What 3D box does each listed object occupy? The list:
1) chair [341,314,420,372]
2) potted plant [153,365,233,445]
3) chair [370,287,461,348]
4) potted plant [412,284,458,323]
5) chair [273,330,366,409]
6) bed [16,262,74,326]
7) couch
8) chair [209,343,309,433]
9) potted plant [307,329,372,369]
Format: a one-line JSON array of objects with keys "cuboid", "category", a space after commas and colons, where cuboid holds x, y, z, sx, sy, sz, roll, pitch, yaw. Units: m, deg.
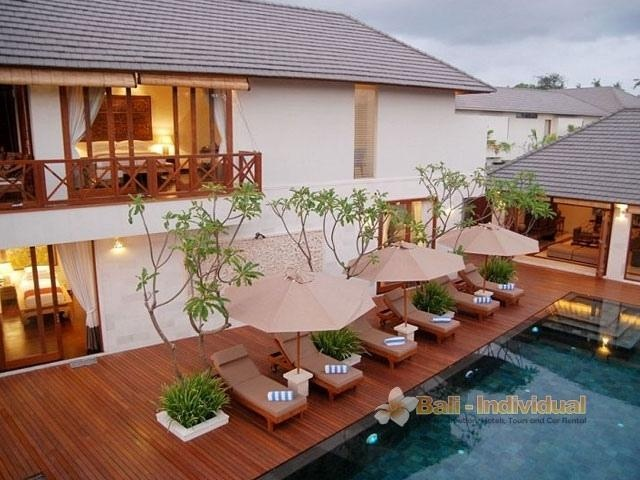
[{"cuboid": [1.843, 3.239, 13.414, 1.092, 1.085, 2.128, -24, 33, -39], "category": "chair"}, {"cuboid": [-2.997, 3.917, 10.198, 1.598, 1.191, 1.001, -6, 13, -17], "category": "potted plant"}, {"cuboid": [3.161, 2.452, 15.324, 3.644, 1.714, 1.338, 16, 27, 40], "category": "chair"}, {"cuboid": [4.169, 2.190, 15.557, 1.279, 1.311, 1.157, 14, 16, 43], "category": "potted plant"}, {"cuboid": [-0.130, 3.317, 11.882, 1.129, 1.176, 2.677, -7, 14, -44], "category": "chair"}, {"cuboid": [-8.685, 1.780, 13.173, 1.385, 1.810, 1.872, -6, 14, -35], "category": "bed"}, {"cuboid": [-6.547, -2.647, 14.751, 2.963, 1.661, 6.246, -6, 13, -18], "category": "couch"}, {"cuboid": [-1.752, 3.594, 11.144, 1.227, 1.293, 3.074, -21, 35, -37], "category": "chair"}, {"cuboid": [0.448, 3.091, 13.177, 1.409, 0.728, 1.473, 11, -20, -18], "category": "potted plant"}]
